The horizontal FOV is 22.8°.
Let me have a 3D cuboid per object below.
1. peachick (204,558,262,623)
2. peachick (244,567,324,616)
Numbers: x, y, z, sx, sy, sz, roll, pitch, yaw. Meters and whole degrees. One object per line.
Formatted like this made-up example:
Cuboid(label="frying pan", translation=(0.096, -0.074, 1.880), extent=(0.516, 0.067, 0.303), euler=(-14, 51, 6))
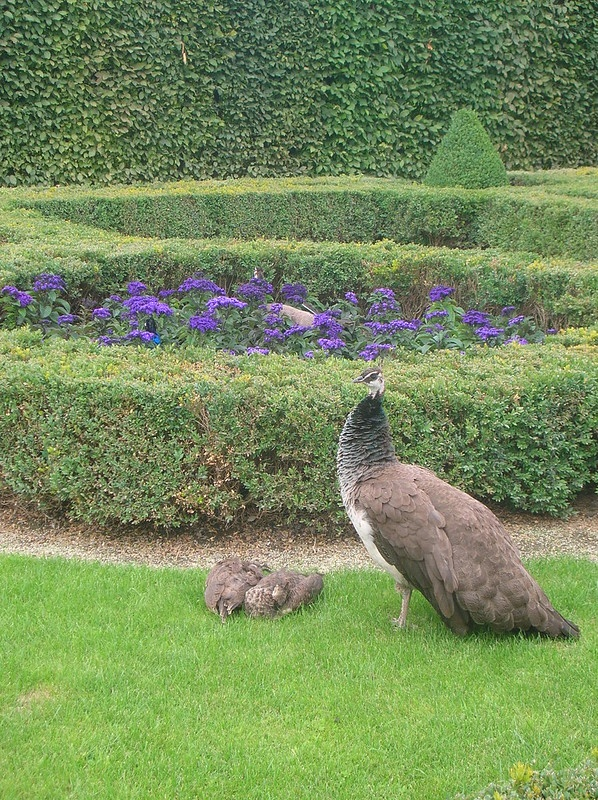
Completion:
Cuboid(label="peachick", translation=(-0.565, 1.617, 12.652), extent=(0.292, 0.261, 0.616), euler=(1, 19, 17))
Cuboid(label="peachick", translation=(-0.107, 1.610, 12.531), extent=(0.321, 0.265, 0.595), euler=(-1, 7, 32))
